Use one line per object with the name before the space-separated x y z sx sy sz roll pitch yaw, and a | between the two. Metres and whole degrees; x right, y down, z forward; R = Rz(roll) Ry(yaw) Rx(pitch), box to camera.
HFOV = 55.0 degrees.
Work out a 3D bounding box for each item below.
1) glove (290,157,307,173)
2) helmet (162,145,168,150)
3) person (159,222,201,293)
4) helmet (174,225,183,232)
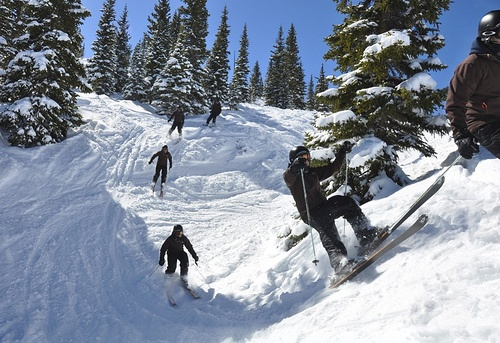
glove | 1.704 -0.243 16.946 0.476 0.565 0.411 -12 26 -14
helmet | -4.510 -1.326 25.503 0.255 0.272 0.300 10 -5 -9
person | -2.886 3.481 19.860 1.495 2.730 1.096 1 19 -2
helmet | -2.950 2.316 19.740 0.354 0.244 0.424 5 4 9
